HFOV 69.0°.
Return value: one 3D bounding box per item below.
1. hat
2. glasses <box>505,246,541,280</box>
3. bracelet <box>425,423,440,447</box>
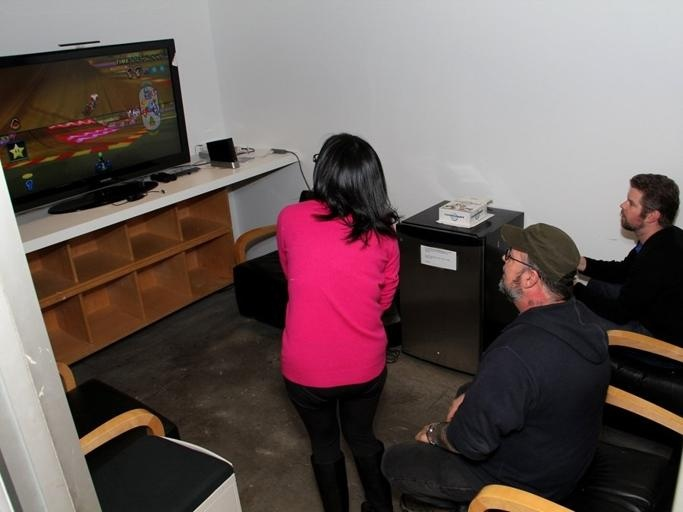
[{"bbox_3d":[0.686,-0.034,1.776,0.260,0.131,0.172,48,49,11],"label":"hat"},{"bbox_3d":[0.642,0.025,1.767,0.095,0.028,0.091,30,15,16],"label":"glasses"},{"bbox_3d":[0.363,0.708,1.980,0.060,0.039,0.077,10,17,12],"label":"bracelet"}]
